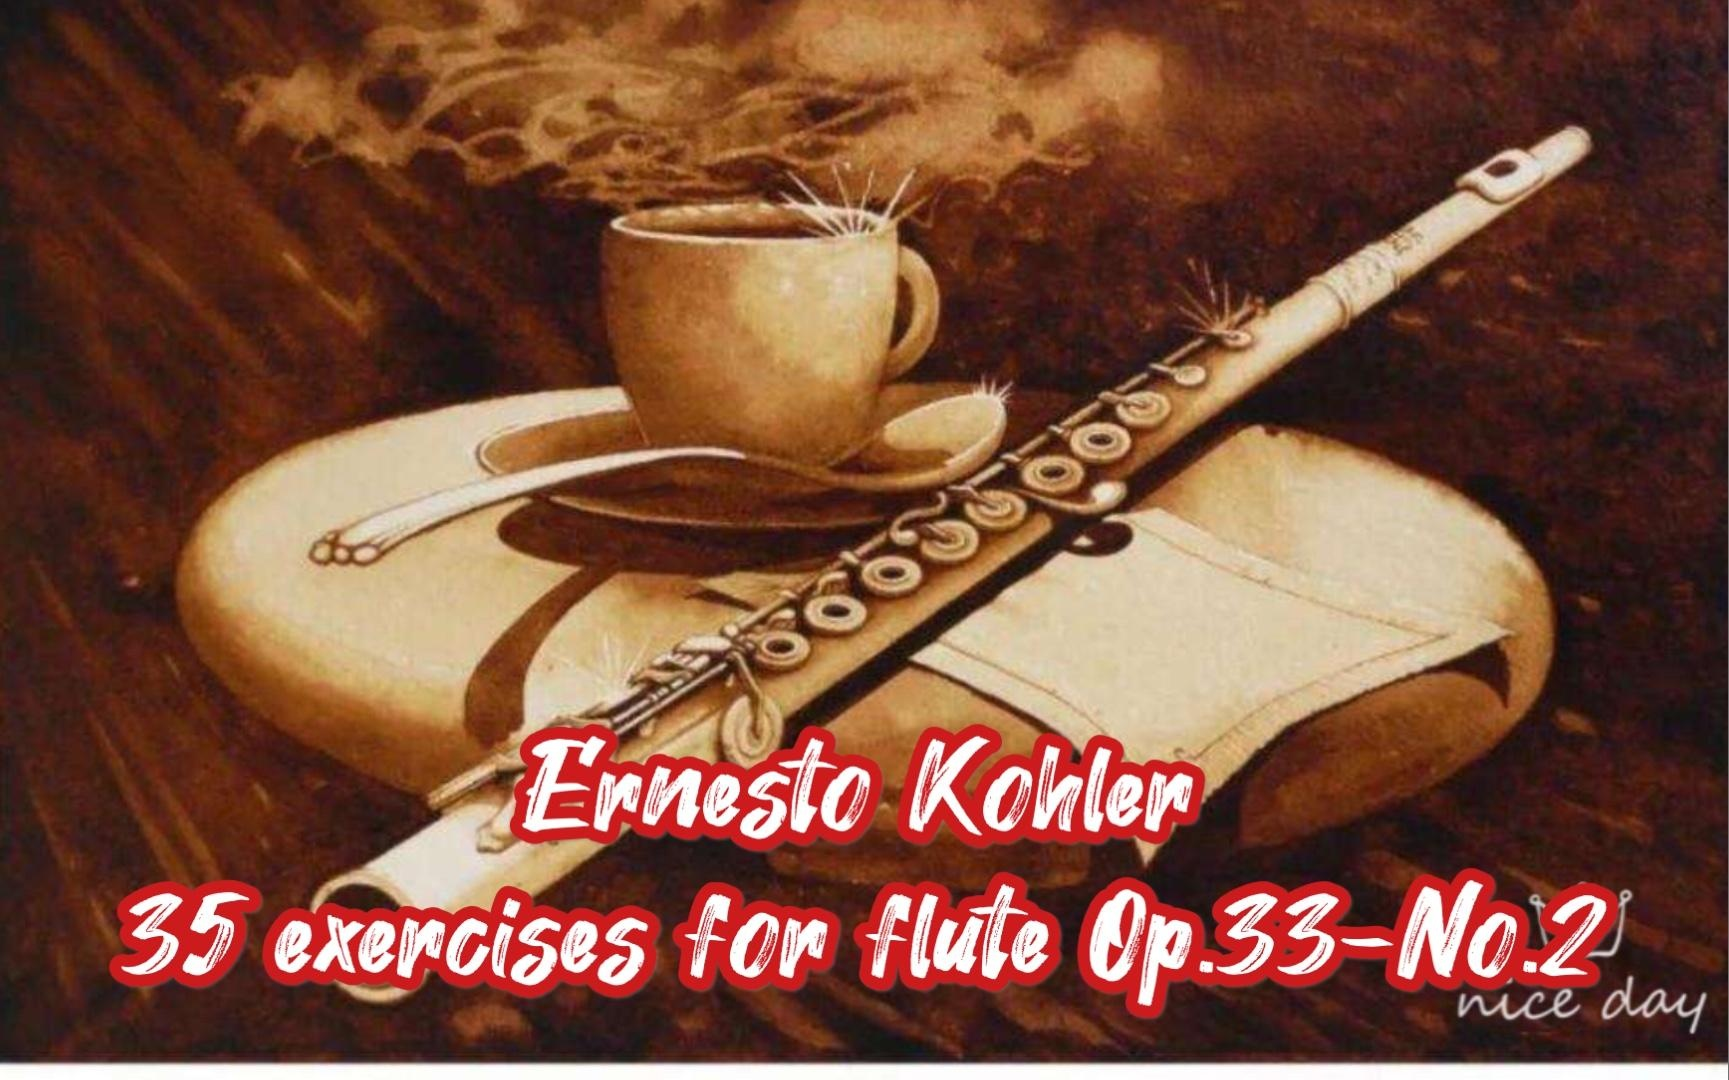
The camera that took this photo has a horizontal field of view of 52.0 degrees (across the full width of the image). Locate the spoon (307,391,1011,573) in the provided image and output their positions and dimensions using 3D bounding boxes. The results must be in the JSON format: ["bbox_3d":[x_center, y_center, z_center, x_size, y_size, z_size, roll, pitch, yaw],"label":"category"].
[{"bbox_3d":[-0.262,-0.062,2.127,0.489,0.069,0.094,-13,44,-5],"label":"spoon"}]

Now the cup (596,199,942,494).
[{"bbox_3d":[-0.104,-0.256,2.230,0.420,0.337,0.282,-4,98,12],"label":"cup"}]
